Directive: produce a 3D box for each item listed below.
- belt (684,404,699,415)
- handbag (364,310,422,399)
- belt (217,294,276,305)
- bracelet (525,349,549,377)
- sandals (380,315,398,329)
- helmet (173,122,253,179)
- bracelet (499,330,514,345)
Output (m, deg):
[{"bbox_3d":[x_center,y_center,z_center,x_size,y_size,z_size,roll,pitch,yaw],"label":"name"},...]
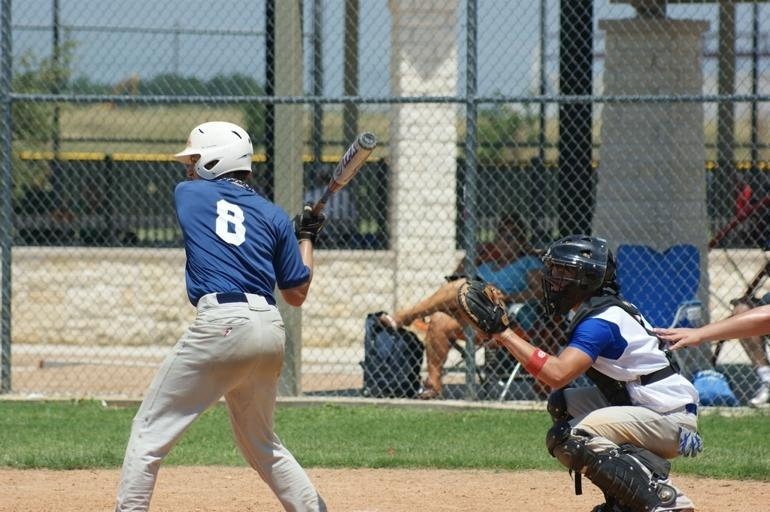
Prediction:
[{"bbox_3d":[2.986,1.499,15.866,0.104,0.117,0.099,0,3,-41],"label":"belt"},{"bbox_3d":[0.101,1.158,18.961,0.704,0.777,0.270,0,0,-2],"label":"handbag"},{"bbox_3d":[-1.320,0.414,15.481,0.563,0.109,0.137,0,0,-8],"label":"belt"},{"bbox_3d":[1.464,1.021,15.648,0.177,0.243,0.235,37,-15,-6],"label":"bracelet"},{"bbox_3d":[0.056,0.771,18.914,0.218,0.129,0.078,43,-14,-5],"label":"sandals"},{"bbox_3d":[-1.637,-1.013,15.664,0.602,0.542,0.492,2,0,13],"label":"helmet"},{"bbox_3d":[1.191,0.792,15.796,0.124,0.115,0.132,-6,-1,-29],"label":"bracelet"}]
